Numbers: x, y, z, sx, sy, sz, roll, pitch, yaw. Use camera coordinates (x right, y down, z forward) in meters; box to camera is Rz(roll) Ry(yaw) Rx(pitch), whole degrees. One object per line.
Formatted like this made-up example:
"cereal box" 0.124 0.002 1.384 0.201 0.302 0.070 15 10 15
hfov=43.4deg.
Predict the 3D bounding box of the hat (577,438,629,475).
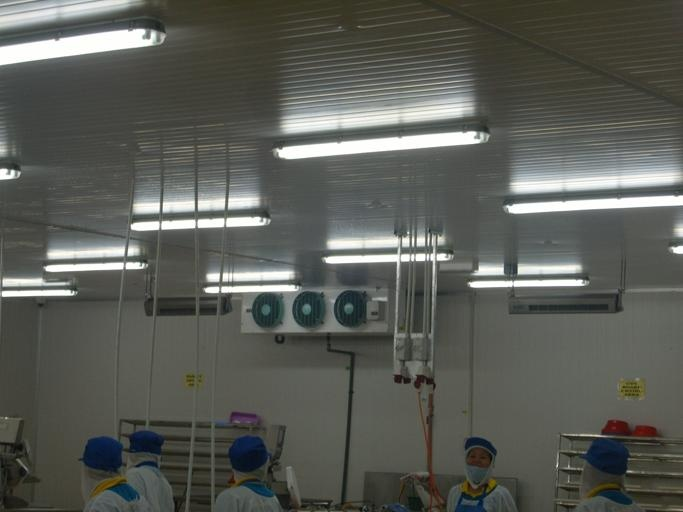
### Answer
"hat" 1.837 1.397 6.039 0.220 0.157 0.295 -3 14 -33

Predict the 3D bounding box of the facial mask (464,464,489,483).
"facial mask" 1.113 1.790 7.004 0.148 0.090 0.154 1 -4 11

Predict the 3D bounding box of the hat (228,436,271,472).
"hat" -0.655 1.409 6.155 0.257 0.167 0.243 9 20 39

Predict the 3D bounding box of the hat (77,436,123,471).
"hat" -1.702 1.406 6.183 0.258 0.172 0.266 6 4 -18

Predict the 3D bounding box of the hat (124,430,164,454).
"hat" -1.697 1.609 7.428 0.297 0.169 0.234 5 -4 -29
